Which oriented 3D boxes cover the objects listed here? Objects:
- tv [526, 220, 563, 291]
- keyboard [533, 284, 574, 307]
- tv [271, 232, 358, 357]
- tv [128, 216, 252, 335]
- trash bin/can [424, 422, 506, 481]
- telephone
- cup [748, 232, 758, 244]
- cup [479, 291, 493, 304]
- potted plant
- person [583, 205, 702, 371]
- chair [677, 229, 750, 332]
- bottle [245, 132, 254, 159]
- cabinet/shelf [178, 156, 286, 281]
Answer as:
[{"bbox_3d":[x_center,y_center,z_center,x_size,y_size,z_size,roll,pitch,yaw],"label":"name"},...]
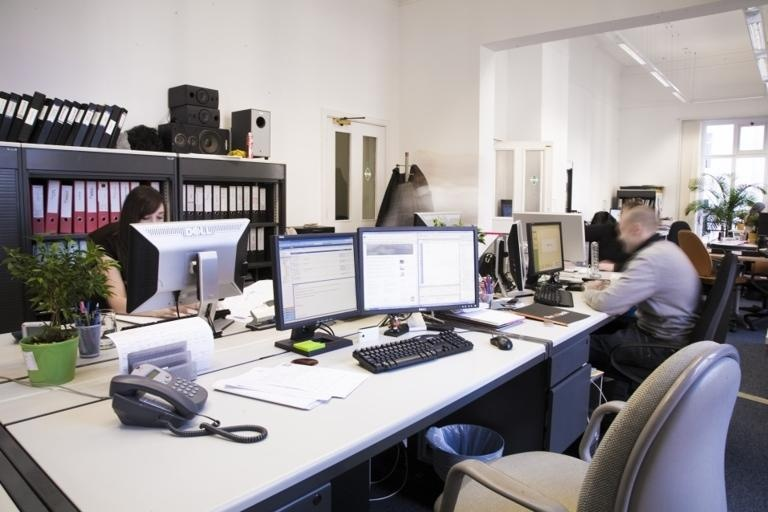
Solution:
[{"bbox_3d":[1.218,0.003,3.924,0.199,0.495,0.493,-3,0,42],"label":"tv"},{"bbox_3d":[1.120,0.272,3.421,0.159,0.041,0.190,-11,20,-38],"label":"keyboard"},{"bbox_3d":[-0.340,0.183,2.504,0.565,0.632,0.341,-3,3,-41],"label":"tv"},{"bbox_3d":[-0.989,0.111,2.588,0.548,0.487,0.210,-7,21,-42],"label":"tv"},{"bbox_3d":[0.473,1.120,2.891,0.376,0.265,0.349,5,11,42],"label":"trash bin/can"},{"bbox_3d":[-0.874,0.531,2.020,0.312,0.183,0.331,6,4,-6],"label":"telephone"},{"bbox_3d":[5.177,-0.233,7.233,0.152,0.163,0.150,1,3,0],"label":"cup"},{"bbox_3d":[0.619,0.253,3.137,0.080,0.061,0.078,-1,2,0],"label":"cup"},{"bbox_3d":[-1.454,0.179,2.362,0.644,0.696,0.561,3,6,-31],"label":"potted plant"},{"bbox_3d":[1.706,0.366,3.598,0.808,1.359,0.649,3,13,21],"label":"person"},{"bbox_3d":[3.850,0.214,5.701,0.681,1.028,0.716,-6,-5,-15],"label":"chair"},{"bbox_3d":[-1.193,-0.969,4.551,0.052,0.225,0.097,0,6,20],"label":"bottle"},{"bbox_3d":[-1.104,-0.308,3.666,0.355,1.019,1.097,1,2,32],"label":"cabinet/shelf"}]
